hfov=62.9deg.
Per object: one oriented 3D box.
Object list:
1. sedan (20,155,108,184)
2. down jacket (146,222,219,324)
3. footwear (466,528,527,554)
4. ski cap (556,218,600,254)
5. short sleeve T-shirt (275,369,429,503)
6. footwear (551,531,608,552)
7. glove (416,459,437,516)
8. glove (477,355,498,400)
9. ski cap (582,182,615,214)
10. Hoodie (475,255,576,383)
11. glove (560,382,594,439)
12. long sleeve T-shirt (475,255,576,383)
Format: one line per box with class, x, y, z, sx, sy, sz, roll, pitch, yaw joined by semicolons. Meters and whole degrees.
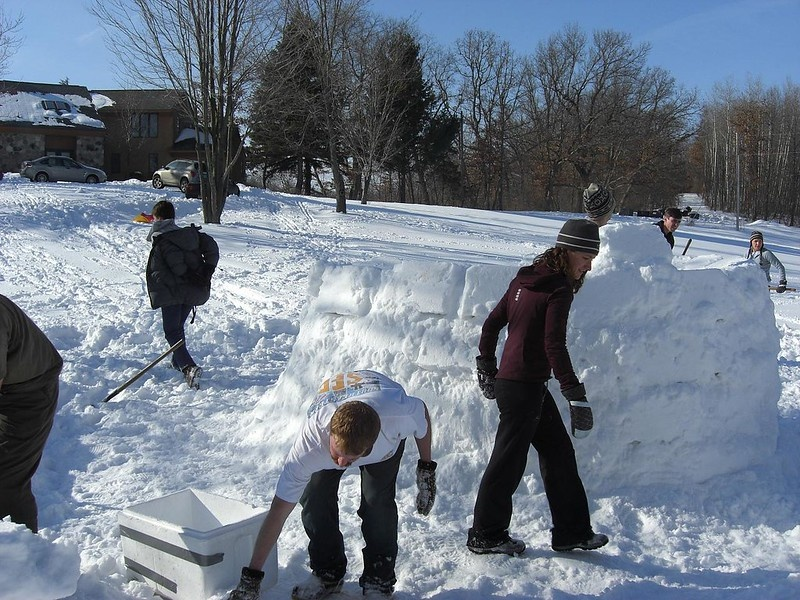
sedan;-13.724;-5.302;26.659;0.973;1.018;2.767;12;11;39
down jacket;-2.393;-0.356;7.167;0.712;0.991;0.381;1;8;-23
footwear;0.606;1.545;4.245;0.397;0.206;0.152;-1;5;0
ski cap;1.112;-0.389;4.088;0.231;0.200;0.239;2;4;29
short sleeve T-shirt;-0.278;0.742;3.657;0.902;0.589;0.367;0;9;-32
footwear;1.119;1.522;4.131;0.290;0.149;0.109;-11;-4;-2
glove;0.137;1.120;4.045;0.120;0.364;0.155;3;8;29
glove;0.578;0.531;4.381;0.086;0.259;0.177;0;0;-3
ski cap;1.496;-0.747;4.932;0.226;0.242;0.250;7;8;15
Hoodie;0.833;0.151;4.267;0.292;0.753;0.797;15;0;-32
glove;1.097;0.642;4.017;0.206;0.363;0.140;-2;8;15
long sleeve T-shirt;0.833;0.151;4.267;0.292;0.753;0.797;15;0;-32
